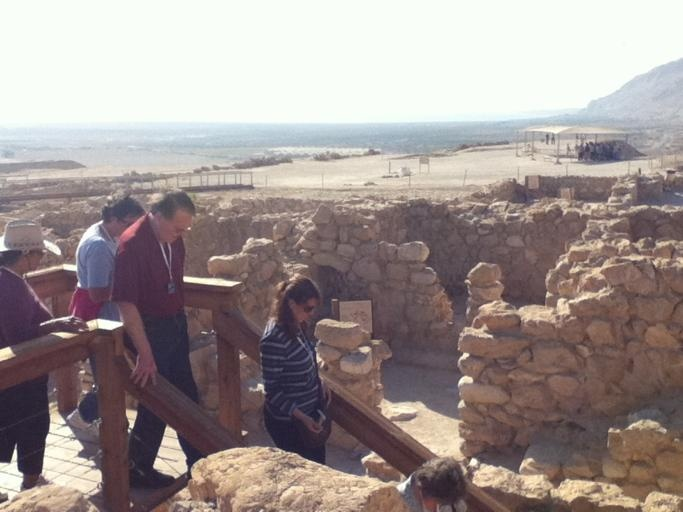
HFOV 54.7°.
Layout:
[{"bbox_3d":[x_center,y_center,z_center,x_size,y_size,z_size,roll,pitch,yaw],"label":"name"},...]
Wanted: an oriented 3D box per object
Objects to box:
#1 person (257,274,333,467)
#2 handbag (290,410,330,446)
[{"bbox_3d":[-0.340,0.865,4.779,0.487,1.379,0.479,-7,13,-8],"label":"person"},{"bbox_3d":[-0.204,1.223,4.663,0.261,0.273,0.108,-3,-19,-17],"label":"handbag"}]
